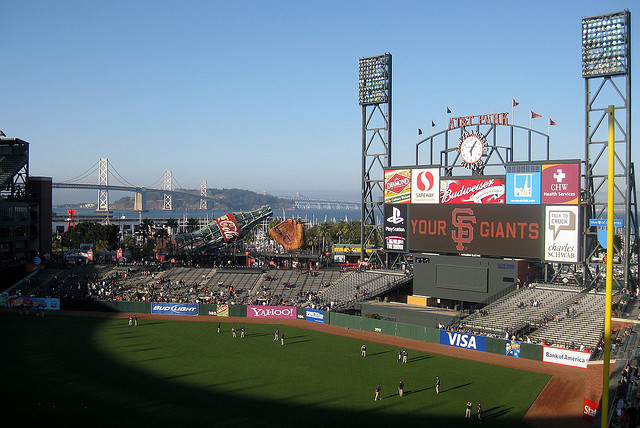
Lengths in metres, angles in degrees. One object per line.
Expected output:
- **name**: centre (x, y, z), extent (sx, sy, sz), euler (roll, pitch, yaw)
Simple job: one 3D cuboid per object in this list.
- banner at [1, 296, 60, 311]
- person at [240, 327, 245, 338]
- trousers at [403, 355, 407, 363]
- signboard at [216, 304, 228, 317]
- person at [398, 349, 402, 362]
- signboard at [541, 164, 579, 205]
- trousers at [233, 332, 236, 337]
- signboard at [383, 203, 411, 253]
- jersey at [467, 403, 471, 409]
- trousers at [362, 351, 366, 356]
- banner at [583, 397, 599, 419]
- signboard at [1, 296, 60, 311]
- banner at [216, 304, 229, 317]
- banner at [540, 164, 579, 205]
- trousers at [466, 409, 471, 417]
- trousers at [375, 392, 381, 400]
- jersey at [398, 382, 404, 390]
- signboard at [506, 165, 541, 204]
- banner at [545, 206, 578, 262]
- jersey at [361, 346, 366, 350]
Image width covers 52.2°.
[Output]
- **banner**: centre (-45.890, 14.169, 103.394), extent (10.138, 1.896, 1.498), euler (2, 11, 14)
- **person**: centre (-10.489, 16.350, 89.427), extent (0.497, 1.057, 0.317), euler (-5, -5, 18)
- **trousers**: centre (10.509, 17.704, 80.263), extent (0.437, 0.990, 1.161), euler (2, 11, 13)
- **signboard**: centre (-14.847, 14.878, 99.994), extent (1.927, 1.594, 0.197), euler (1, 8, 14)
- **person**: centre (9.935, 17.378, 80.631), extent (0.459, 1.361, 1.419), euler (0, 11, 7)
- **signboard**: centre (33.747, -4.161, 91.690), extent (4.648, 5.435, 1.005), euler (4, 12, 25)
- **trousers**: centre (-11.658, 16.461, 89.552), extent (0.341, 0.686, 0.585), euler (-2, 11, -7)
- **signboard**: centre (12.341, 2.311, 103.517), extent (3.836, 7.919, 1.987), euler (3, 0, 9)
- **jersey**: centre (15.367, 19.712, 67.144), extent (0.324, 0.739, 0.603), euler (1, 11, 11)
- **trousers**: centre (5.661, 17.662, 82.490), extent (0.499, 0.799, 0.624), euler (2, -4, 15)
- **banner**: centre (27.451, 19.955, 66.487), extent (0.824, 2.001, 1.489), euler (-7, 12, -30)
- **signboard**: centre (-45.930, 14.365, 102.523), extent (11.000, 1.666, 2.164), euler (1, 10, 10)
- **banner**: centre (-14.805, 14.876, 99.986), extent (1.732, 1.869, 0.200), euler (7, -5, 10)
- **banner**: centre (33.843, -4.161, 91.679), extent (5.651, 6.104, 0.659), euler (-4, -2, 40)
- **trousers**: centre (15.409, 20.438, 67.582), extent (0.456, 0.907, 0.815), euler (1, 11, 11)
- **trousers**: centre (6.295, 19.666, 70.847), extent (0.415, 0.731, 0.919), euler (8, 14, 39)
- **jersey**: centre (8.854, 18.711, 70.824), extent (0.779, 0.873, 0.518), euler (1, -7, 1)
- **signboard**: centre (29.549, -4.223, 93.996), extent (5.789, 6.360, 0.566), euler (2, -2, 30)
- **banner**: centre (33.993, 2.984, 93.010), extent (4.249, 7.266, 1.080), euler (-4, -1, 2)
- **jersey**: centre (5.558, 16.878, 81.856), extent (0.528, 0.663, 0.385), euler (0, -2, 9)
